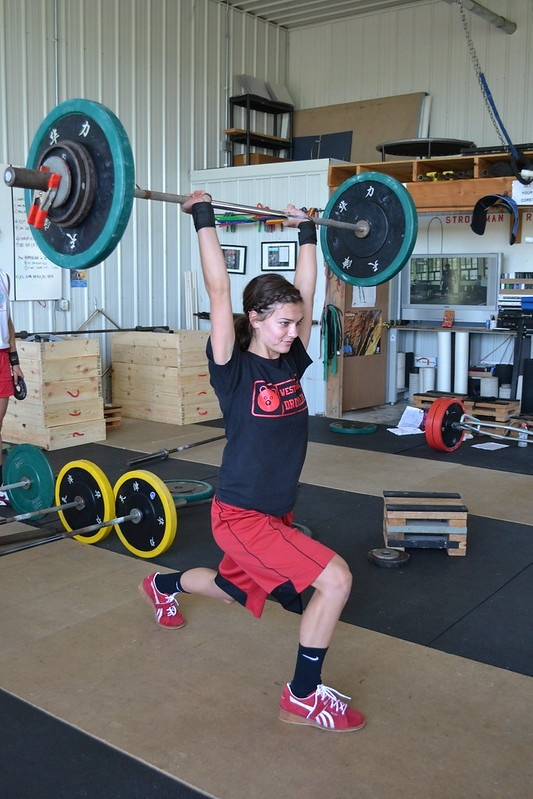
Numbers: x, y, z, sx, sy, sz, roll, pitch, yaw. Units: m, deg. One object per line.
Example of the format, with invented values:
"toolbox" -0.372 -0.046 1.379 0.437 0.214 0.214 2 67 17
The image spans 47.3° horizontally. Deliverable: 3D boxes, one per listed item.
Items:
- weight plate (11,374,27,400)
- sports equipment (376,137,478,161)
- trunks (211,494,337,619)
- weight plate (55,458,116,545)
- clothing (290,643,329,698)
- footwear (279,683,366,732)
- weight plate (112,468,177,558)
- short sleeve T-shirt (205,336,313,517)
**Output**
"weight plate" -1.641 -0.091 4.055 0.040 0.172 0.171 -2 40 -17
"sports equipment" 1.736 -2.729 6.705 0.711 0.171 0.723 -1 3 3
"trunks" 0.010 0.461 1.635 0.337 0.203 0.384 1 4 2
"weight plate" -0.974 0.571 3.255 0.343 0.404 0.065 -25 -10 27
"clothing" 0.106 0.717 1.595 0.079 0.192 0.136 -1 4 -3
"footwear" 0.149 0.846 1.697 0.258 0.114 0.102 2 2 6
"weight plate" -0.613 0.591 3.028 0.371 0.441 0.069 13 22 26
"short sleeve T-shirt" -0.005 0.090 1.720 0.360 0.522 0.238 -2 5 -24
